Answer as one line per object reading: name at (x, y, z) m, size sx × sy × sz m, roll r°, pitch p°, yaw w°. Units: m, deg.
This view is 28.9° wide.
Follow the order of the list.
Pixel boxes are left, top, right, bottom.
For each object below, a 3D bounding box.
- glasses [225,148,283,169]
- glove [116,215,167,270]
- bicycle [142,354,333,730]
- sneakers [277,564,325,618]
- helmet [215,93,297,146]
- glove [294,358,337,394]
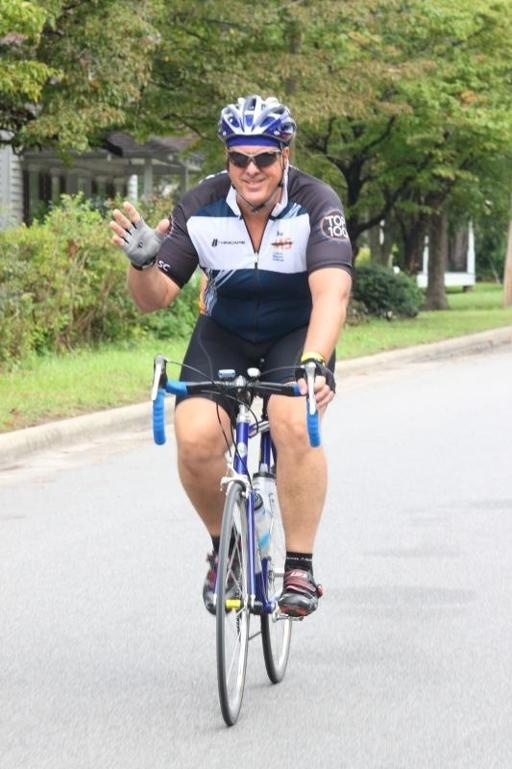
glasses at (-0.018, -0.729, 3.271) m, size 0.181 × 0.066 × 0.086 m, roll 2°, pitch 4°, yaw 14°
glove at (-0.356, -0.462, 3.234) m, size 0.140 × 0.090 × 0.194 m, roll -35°, pitch 45°, yaw 4°
bicycle at (-0.072, 0.463, 3.117) m, size 0.523 × 1.099 × 1.040 m, roll 1°, pitch 4°, yaw 4°
sneakers at (0.141, 0.718, 3.422) m, size 0.129 × 0.179 × 0.384 m, roll 3°, pitch -21°, yaw 1°
helmet at (0.000, -0.869, 3.312) m, size 0.251 × 0.201 × 0.240 m, roll 1°, pitch 4°, yaw -1°
glove at (0.183, -0.025, 2.886) m, size 0.091 × 0.100 × 0.246 m, roll 3°, pitch 4°, yaw 31°
